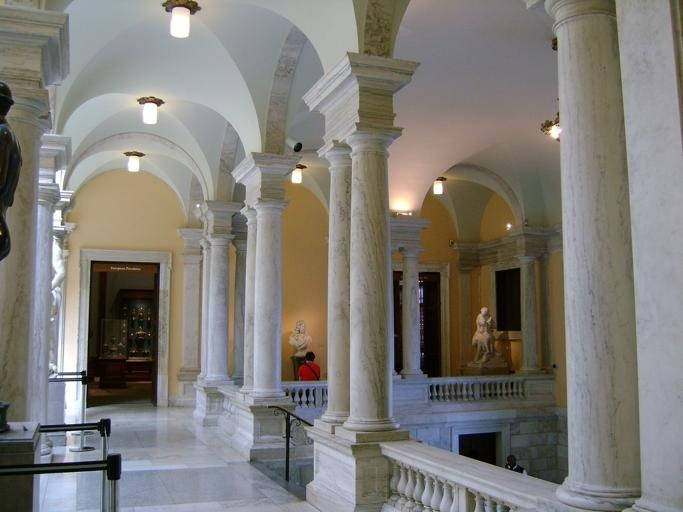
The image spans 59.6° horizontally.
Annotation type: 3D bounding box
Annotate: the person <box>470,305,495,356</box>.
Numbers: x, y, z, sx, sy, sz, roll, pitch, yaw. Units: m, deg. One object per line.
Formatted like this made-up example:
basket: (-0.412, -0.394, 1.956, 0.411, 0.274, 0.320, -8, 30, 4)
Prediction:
person: (3.685, 1.990, 15.392, 0.488, 1.314, 0.617, -1, -9, 5)

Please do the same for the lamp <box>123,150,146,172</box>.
lamp: (-5.314, -2.473, 15.283, 0.610, 0.569, 0.630, 0, -2, -5)
